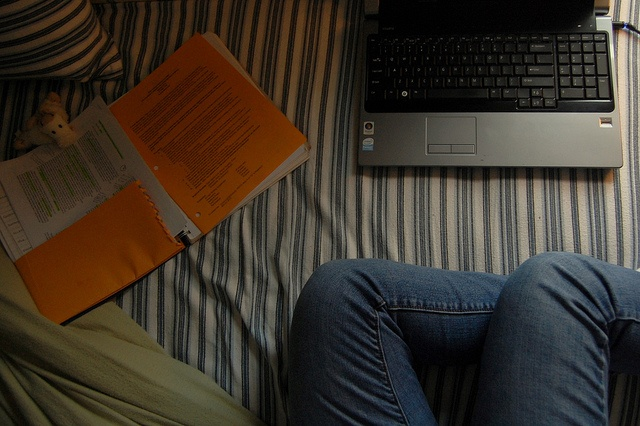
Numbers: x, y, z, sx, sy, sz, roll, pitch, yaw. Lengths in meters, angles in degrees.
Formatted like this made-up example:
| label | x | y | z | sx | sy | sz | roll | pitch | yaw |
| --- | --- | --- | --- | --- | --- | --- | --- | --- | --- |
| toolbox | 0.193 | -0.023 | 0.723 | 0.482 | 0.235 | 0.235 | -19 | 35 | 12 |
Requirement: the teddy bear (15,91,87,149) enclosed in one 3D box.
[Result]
| label | x | y | z | sx | sy | sz | roll | pitch | yaw |
| --- | --- | --- | --- | --- | --- | --- | --- | --- | --- |
| teddy bear | -0.587 | -0.194 | 1.154 | 0.121 | 0.124 | 0.067 | 6 | 8 | 21 |
